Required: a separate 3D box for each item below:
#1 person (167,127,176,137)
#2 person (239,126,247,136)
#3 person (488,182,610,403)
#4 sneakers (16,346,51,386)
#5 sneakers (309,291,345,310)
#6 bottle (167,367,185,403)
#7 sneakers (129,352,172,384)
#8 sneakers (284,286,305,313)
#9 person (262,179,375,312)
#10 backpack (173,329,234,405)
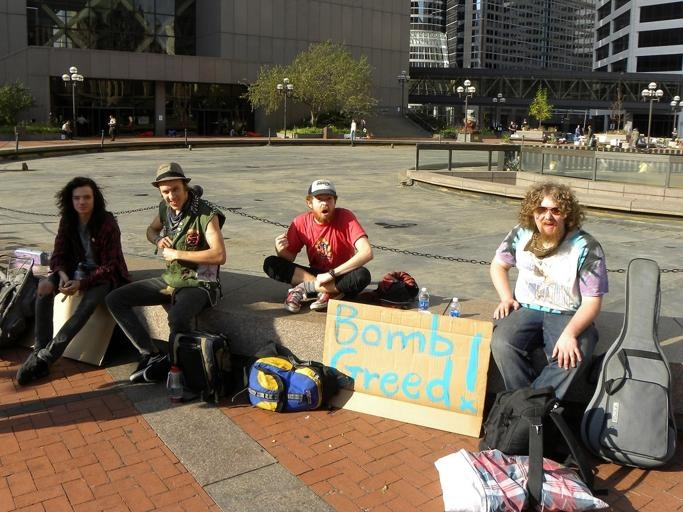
[{"bbox_3d":[-16.450,-11.928,53.397,0.779,0.605,3.981,-3,15,-17],"label":"person"},{"bbox_3d":[-10.400,-13.304,58.503,0.695,0.866,1.423,-1,14,-9],"label":"person"},{"bbox_3d":[1.677,0.221,4.569,0.915,1.592,0.784,9,15,31],"label":"person"},{"bbox_3d":[-2.949,1.058,5.353,0.187,0.352,0.135,37,-18,5],"label":"sneakers"},{"bbox_3d":[-0.125,0.457,5.660,0.142,0.198,0.400,1,8,41],"label":"sneakers"},{"bbox_3d":[-1.522,1.170,5.072,0.166,0.322,0.176,-1,-3,0],"label":"bottle"},{"bbox_3d":[-1.842,1.089,5.356,0.340,0.132,0.159,-26,26,-16],"label":"sneakers"},{"bbox_3d":[-0.457,0.425,5.603,0.164,0.230,0.306,5,14,18],"label":"sneakers"},{"bbox_3d":[-0.186,-0.016,5.902,1.273,1.496,1.174,7,15,23],"label":"person"},{"bbox_3d":[-1.309,0.968,5.224,0.585,0.645,0.376,8,22,20],"label":"backpack"}]
